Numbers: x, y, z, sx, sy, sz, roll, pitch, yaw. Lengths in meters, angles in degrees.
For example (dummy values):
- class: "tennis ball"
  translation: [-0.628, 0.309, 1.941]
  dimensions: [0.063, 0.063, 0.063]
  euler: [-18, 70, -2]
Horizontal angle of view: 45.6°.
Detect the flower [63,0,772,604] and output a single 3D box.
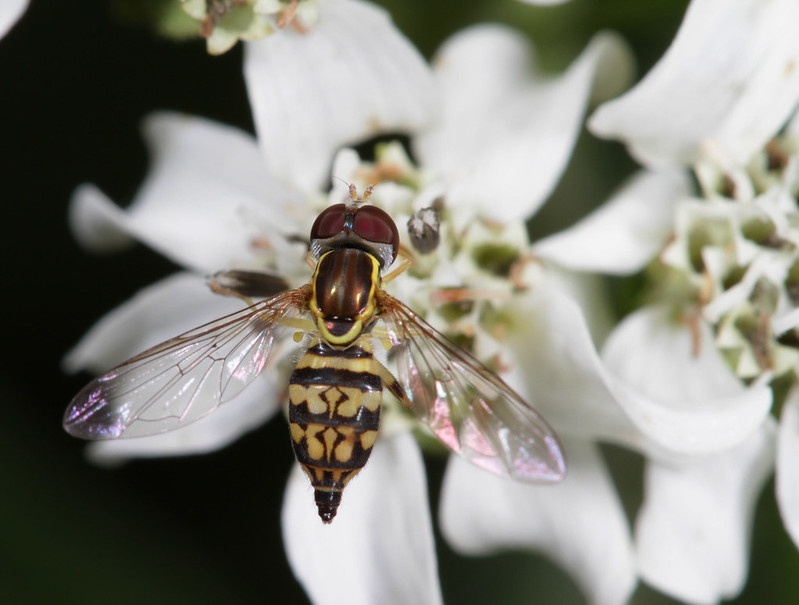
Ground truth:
- class: "flower"
  translation: [0.034, -0.011, 0.878]
  dimensions: [0.465, 0.152, 0.547]
  euler: [2, 93, 7]
